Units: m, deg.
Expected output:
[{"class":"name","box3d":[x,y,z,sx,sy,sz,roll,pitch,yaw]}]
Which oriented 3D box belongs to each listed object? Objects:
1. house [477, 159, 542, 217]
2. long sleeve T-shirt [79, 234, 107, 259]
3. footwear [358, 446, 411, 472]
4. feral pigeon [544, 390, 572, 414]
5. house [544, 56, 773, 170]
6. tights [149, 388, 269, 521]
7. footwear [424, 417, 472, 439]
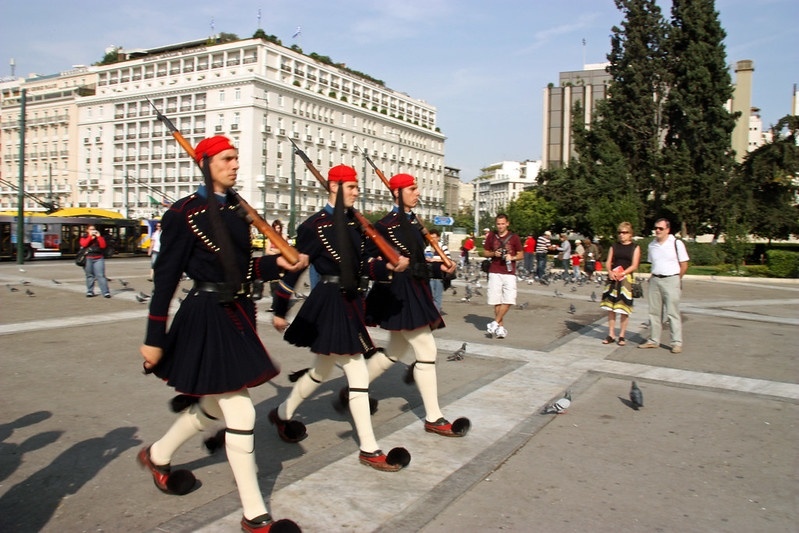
[{"class":"house","box3d":[40.141,-27.437,200.109,21.114,19.046,26.360,-2,8,-5]},{"class":"long sleeve T-shirt","box3d":[-8.784,-0.580,16.109,0.625,0.659,0.402,-4,3,-19]},{"class":"footwear","box3d":[-0.127,1.868,5.432,0.507,0.124,0.214,0,-2,12]},{"class":"feral pigeon","box3d":[1.967,1.681,6.953,0.286,0.259,0.344,-1,3,21]},{"class":"house","box3d":[43.874,-26.969,102.459,29.326,16.898,11.376,-9,22,-16]},{"class":"tights","box3d":[-1.507,1.484,4.655,1.083,0.970,0.273,-1,4,30]},{"class":"footwear","box3d":[0.538,1.782,6.215,0.416,0.096,0.251,-5,-6,29]}]
